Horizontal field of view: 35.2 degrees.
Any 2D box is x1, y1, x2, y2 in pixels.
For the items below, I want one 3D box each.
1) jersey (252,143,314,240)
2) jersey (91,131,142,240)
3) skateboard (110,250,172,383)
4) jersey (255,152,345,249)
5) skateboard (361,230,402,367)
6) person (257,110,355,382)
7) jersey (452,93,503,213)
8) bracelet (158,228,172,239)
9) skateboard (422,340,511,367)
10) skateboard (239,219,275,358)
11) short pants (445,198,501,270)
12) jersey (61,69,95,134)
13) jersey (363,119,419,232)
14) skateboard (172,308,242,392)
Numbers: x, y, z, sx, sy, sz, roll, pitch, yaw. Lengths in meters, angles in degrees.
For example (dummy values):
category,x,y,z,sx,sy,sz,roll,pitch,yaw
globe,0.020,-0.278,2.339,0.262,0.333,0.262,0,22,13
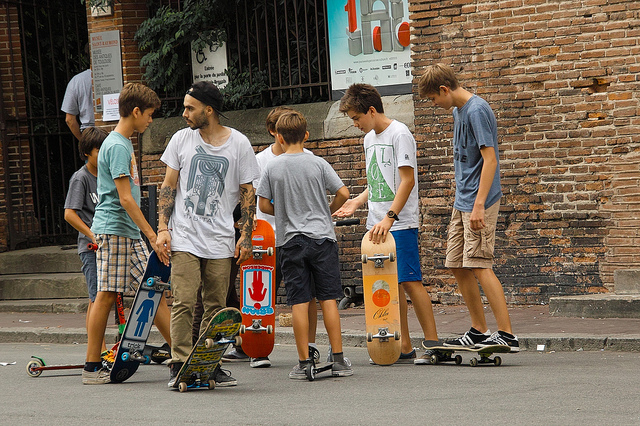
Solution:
category,x,y,z,sx,sy,sz,roll,pitch,yaw
jersey,-0.314,-0.294,13.088,0.949,1.251,0.441,-17,29,-13
jersey,-2.472,-0.302,12.313,0.654,1.191,1.029,-1,-7,-5
skateboard,-2.089,1.253,11.944,0.483,1.914,0.269,18,3,-43
jersey,-0.249,-0.165,12.324,1.077,1.119,0.709,-5,1,-7
skateboard,0.716,1.065,12.360,0.507,1.765,0.256,-2,0,-26
person,-0.162,0.388,12.102,1.039,3.223,0.418,-2,2,-1
jersey,1.898,-0.738,12.435,0.567,1.457,0.361,-1,2,18
bracelet,-1.779,0.240,11.698,0.076,0.122,0.186,0,3,42
skateboard,1.784,1.717,12.404,1.058,0.250,0.385,-5,-5,35
skateboard,-0.768,0.918,12.360,0.434,1.672,0.280,1,-1,2
short pants,1.850,0.267,12.494,0.643,0.847,0.312,0,3,40
jersey,-4.216,-1.999,17.904,0.675,1.123,0.317,-1,3,28
jersey,0.868,-0.476,12.631,0.698,1.379,0.457,-1,2,22
skateboard,-1.255,1.573,11.579,0.454,0.258,1.472,9,-48,-33
